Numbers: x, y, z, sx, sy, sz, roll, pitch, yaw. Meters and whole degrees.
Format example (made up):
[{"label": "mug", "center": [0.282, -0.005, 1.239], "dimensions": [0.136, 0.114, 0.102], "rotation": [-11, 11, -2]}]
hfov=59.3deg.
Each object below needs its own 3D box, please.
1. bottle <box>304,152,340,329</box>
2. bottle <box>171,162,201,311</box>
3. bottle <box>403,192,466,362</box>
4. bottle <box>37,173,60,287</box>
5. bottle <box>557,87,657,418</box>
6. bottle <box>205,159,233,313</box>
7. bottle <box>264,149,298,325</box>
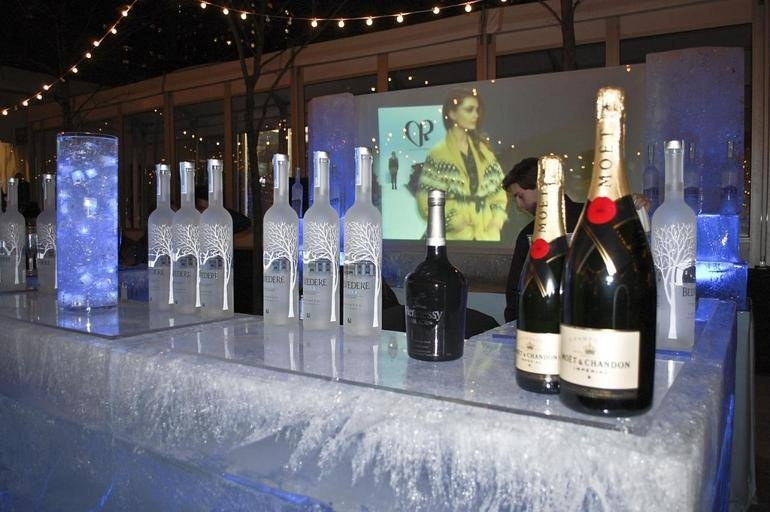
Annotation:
[{"label": "bottle", "center": [-0.177, -0.043, 1.900], "dimensions": [0.101, 0.495, 0.096], "rotation": [1, 1, 0]}, {"label": "bottle", "center": [-0.603, -0.056, 2.052], "dimensions": [0.081, 0.469, 0.175], "rotation": [0, 1, -17]}, {"label": "bottle", "center": [0.140, 0.051, 1.725], "dimensions": [0.179, 0.430, 0.141], "rotation": [0, 1, -11]}, {"label": "bottle", "center": [-1.236, -0.088, 2.470], "dimensions": [0.059, 0.438, 0.180], "rotation": [0, 1, -28]}, {"label": "bottle", "center": [0.505, -0.009, 1.517], "dimensions": [0.204, 0.721, 0.101], "rotation": [1, 1, 15]}, {"label": "bottle", "center": [-0.497, -0.051, 2.000], "dimensions": [0.090, 0.470, 0.070], "rotation": [0, 1, -18]}, {"label": "bottle", "center": [-0.295, -0.044, 1.937], "dimensions": [0.098, 0.487, 0.097], "rotation": [1, 1, 0]}]
